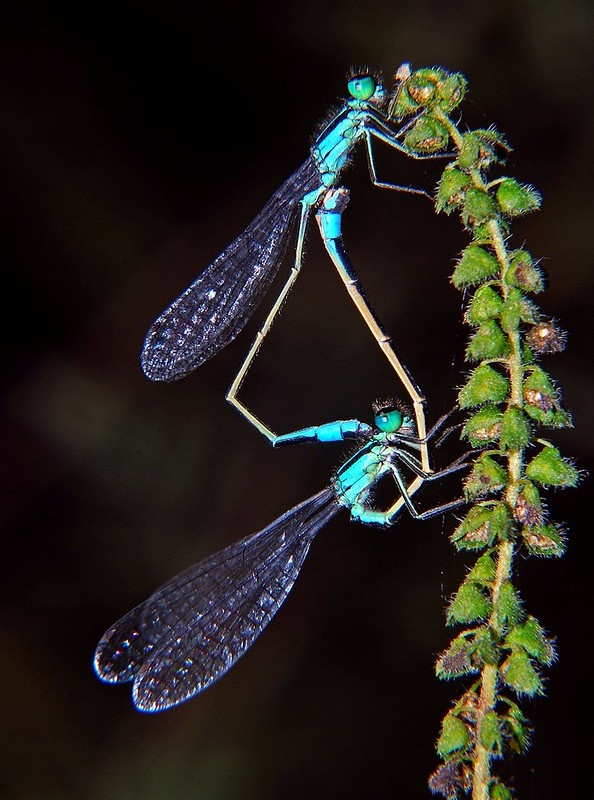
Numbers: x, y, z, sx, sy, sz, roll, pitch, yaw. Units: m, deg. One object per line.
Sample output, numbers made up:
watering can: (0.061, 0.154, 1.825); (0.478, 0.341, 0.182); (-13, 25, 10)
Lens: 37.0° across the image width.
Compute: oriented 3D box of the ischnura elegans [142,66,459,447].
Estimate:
ischnura elegans: (0.029, -0.316, 2.080); (0.291, 1.015, 0.651); (24, -2, 32)
